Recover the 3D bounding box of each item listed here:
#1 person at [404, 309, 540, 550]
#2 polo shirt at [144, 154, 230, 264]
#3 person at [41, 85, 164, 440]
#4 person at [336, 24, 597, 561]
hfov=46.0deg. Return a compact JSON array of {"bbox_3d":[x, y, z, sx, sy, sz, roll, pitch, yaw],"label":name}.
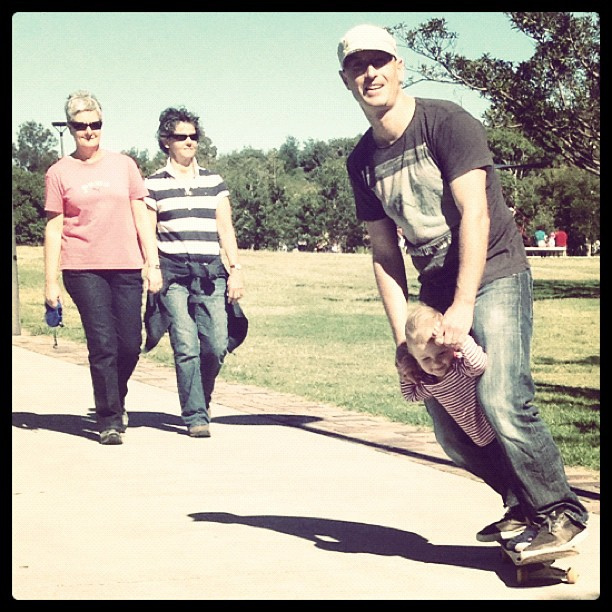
[{"bbox_3d":[0.577,0.427,2.583,0.411,0.837,0.320,-2,3,-5],"label":"person"},{"bbox_3d":[-0.910,-0.733,5.599,0.632,0.926,0.371,-3,-3,-23],"label":"polo shirt"},{"bbox_3d":[-1.452,-0.283,5.243,0.841,2.546,0.426,-3,3,-24],"label":"person"},{"bbox_3d":[0.554,-0.064,2.646,0.607,2.003,0.633,-9,-5,-12],"label":"person"}]
